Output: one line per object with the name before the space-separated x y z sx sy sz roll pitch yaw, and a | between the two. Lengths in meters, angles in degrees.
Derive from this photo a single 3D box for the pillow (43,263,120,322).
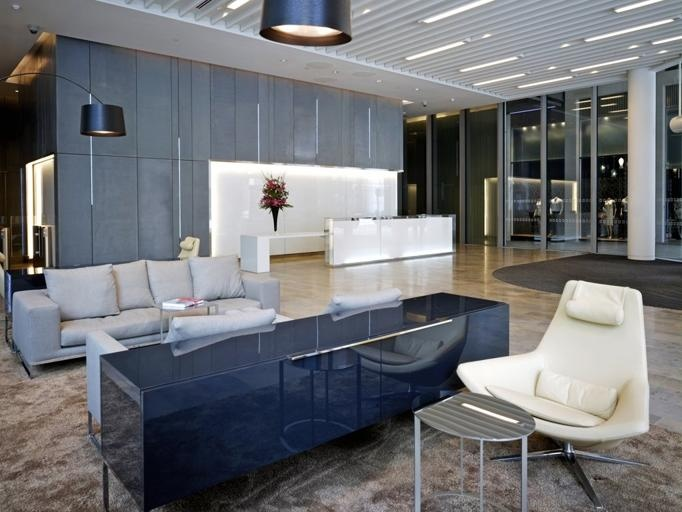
pillow | -2.742 0.372 5.586 0.284 0.518 0.656 12 11 44

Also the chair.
chair | 1.598 1.025 4.183 1.632 1.536 1.410 7 10 44

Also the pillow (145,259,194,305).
pillow | -1.944 0.307 5.962 0.467 0.399 0.238 -7 10 -37

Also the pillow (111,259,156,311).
pillow | -2.322 0.325 5.893 0.514 0.494 0.196 -11 -4 -43

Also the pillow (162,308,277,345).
pillow | -0.850 0.499 3.933 0.808 0.172 0.149 -3 2 -36

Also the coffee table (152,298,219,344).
coffee table | -1.623 0.717 5.708 0.669 0.604 0.477 1 0 -21

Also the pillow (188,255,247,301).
pillow | -1.483 0.258 6.338 0.661 0.500 0.272 -4 10 -42
